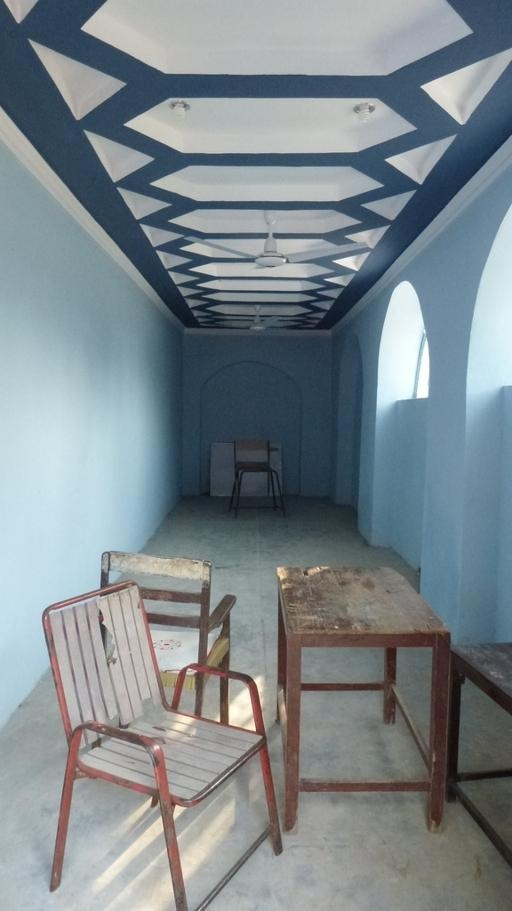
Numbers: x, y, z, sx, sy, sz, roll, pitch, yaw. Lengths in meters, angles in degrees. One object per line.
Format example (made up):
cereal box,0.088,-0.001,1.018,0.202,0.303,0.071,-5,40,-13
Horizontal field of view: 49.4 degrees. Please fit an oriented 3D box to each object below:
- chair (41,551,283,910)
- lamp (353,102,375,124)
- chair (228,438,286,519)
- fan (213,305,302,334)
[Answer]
chair,-0.222,0.781,1.982,0.720,1.316,0.718,1,3,31
lamp,0.481,-1.542,2.487,0.094,0.050,0.097,3,6,19
chair,-0.026,0.315,9.100,0.823,1.654,0.976,0,-2,-8
fan,0.033,-2.026,8.398,1.115,0.281,2.113,1,6,-2
